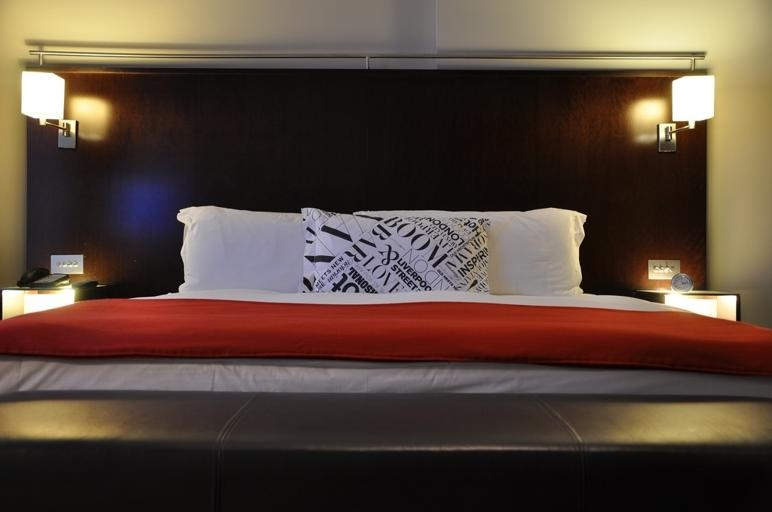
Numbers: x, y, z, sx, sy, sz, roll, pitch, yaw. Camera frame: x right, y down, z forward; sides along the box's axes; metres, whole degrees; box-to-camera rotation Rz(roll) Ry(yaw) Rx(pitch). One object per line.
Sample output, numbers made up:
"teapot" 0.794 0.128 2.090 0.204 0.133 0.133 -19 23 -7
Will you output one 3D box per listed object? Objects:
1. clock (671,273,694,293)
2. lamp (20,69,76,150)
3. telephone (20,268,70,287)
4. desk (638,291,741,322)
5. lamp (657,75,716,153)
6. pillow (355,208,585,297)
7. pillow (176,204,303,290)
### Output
"clock" 1.887 0.177 4.012 0.115 0.099 0.073 2 12 15
"lamp" -2.156 -0.906 4.088 0.171 0.375 0.261 4 -1 21
"telephone" -2.143 0.146 3.943 0.166 0.066 0.163 1 1 2
"desk" 1.937 0.288 3.917 0.450 0.238 0.329 3 6 13
"lamp" 1.980 -0.922 4.120 0.361 0.493 0.237 1 12 13
"pillow" 0.688 -0.024 3.722 0.997 0.626 0.291 0 -16 0
"pillow" -0.845 -0.017 3.842 0.548 0.561 0.220 1 -17 -4
